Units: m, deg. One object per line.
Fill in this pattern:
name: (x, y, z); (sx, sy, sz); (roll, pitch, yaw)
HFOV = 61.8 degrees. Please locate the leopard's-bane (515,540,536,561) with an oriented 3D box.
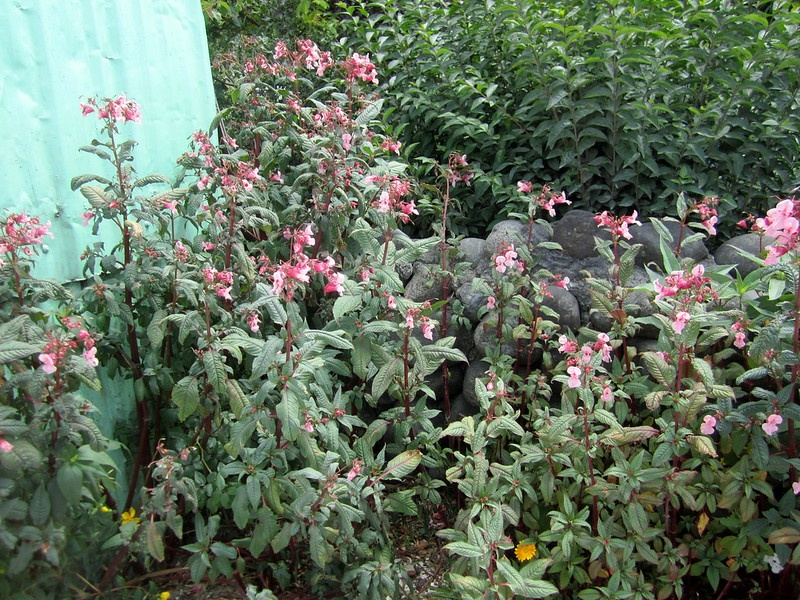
leopard's-bane: (0.645, 1.295, 3.427); (0.105, 0.116, 0.052); (5, 22, 4)

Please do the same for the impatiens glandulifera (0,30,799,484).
impatiens glandulifera: (0.018, -0.189, 3.672); (2.301, 1.720, 1.994); (-6, 9, -33)
